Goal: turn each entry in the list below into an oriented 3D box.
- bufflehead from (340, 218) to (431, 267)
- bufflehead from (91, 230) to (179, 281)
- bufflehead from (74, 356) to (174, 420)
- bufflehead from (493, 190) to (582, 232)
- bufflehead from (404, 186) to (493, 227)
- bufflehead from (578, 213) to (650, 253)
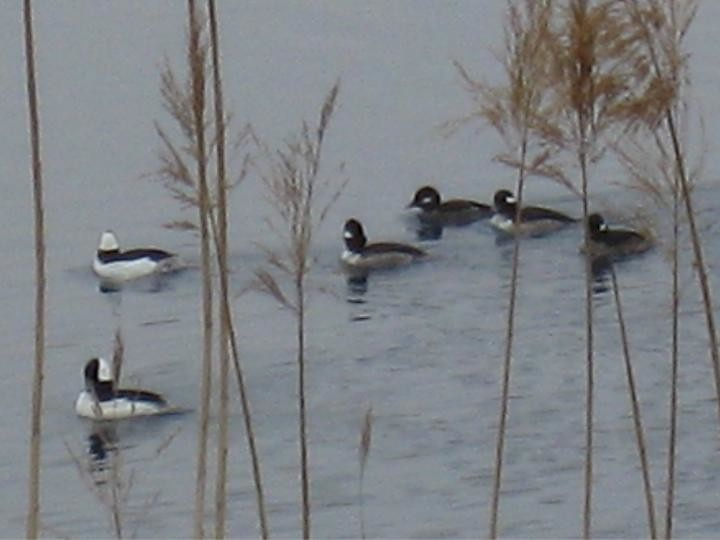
[{"bbox_3d":[0.138,-0.129,10.558,0.468,0.288,0.140,-3,23,-8],"label":"bufflehead"},{"bbox_3d":[-1.192,-0.097,10.582,0.426,0.252,0.287,-8,29,-21],"label":"bufflehead"},{"bbox_3d":[-1.206,0.622,10.362,0.483,0.302,0.203,-2,0,11],"label":"bufflehead"},{"bbox_3d":[0.934,-0.288,10.718,0.544,0.226,0.352,0,-13,3],"label":"bufflehead"},{"bbox_3d":[0.482,-0.315,10.623,0.475,0.213,0.140,0,14,3],"label":"bufflehead"},{"bbox_3d":[1.375,-0.184,10.550,0.320,0.237,0.080,-9,9,8],"label":"bufflehead"}]
